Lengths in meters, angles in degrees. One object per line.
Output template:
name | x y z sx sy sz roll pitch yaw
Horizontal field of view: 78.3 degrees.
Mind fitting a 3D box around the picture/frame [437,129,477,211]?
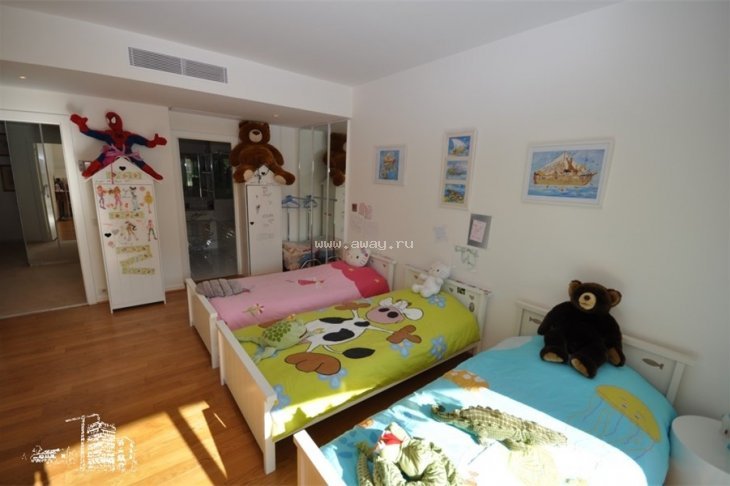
picture/frame | 1.035 -0.832 5.037 0.101 0.817 0.373 -8 14 -36

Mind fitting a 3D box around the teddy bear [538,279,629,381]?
teddy bear | 1.981 0.750 4.154 0.664 0.753 0.699 1 12 -15

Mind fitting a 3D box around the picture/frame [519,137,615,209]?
picture/frame | 1.973 -0.672 4.290 0.698 0.550 0.030 14 17 35

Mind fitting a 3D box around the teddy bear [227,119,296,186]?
teddy bear | -1.622 -1.393 6.825 0.926 0.859 0.731 -7 31 -27

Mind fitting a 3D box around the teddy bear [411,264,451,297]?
teddy bear | 0.794 0.426 5.287 0.428 0.393 0.302 -5 15 -36

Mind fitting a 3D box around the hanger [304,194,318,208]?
hanger | -0.873 -0.665 7.247 0.090 0.214 0.218 -13 38 -38

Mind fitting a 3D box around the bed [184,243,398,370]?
bed | -0.815 0.536 5.586 2.208 0.822 1.376 -8 18 -28

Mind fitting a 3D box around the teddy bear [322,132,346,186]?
teddy bear | -0.417 -1.216 6.560 0.139 0.785 0.379 -7 14 -33

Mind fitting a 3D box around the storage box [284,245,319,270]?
storage box | -1.084 0.194 7.228 0.388 0.199 0.484 -7 21 -25

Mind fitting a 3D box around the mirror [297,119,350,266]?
mirror | -0.605 -0.797 6.842 0.064 2.598 2.017 0 7 -27

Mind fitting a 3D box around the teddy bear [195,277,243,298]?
teddy bear | -1.660 0.517 5.200 0.350 0.085 0.270 -5 16 -33

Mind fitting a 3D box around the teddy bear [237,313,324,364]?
teddy bear | -0.854 0.936 4.469 0.571 0.170 0.387 -12 21 -33

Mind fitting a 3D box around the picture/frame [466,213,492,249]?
picture/frame | 1.262 -0.138 4.904 0.045 0.400 0.305 -11 25 -41
